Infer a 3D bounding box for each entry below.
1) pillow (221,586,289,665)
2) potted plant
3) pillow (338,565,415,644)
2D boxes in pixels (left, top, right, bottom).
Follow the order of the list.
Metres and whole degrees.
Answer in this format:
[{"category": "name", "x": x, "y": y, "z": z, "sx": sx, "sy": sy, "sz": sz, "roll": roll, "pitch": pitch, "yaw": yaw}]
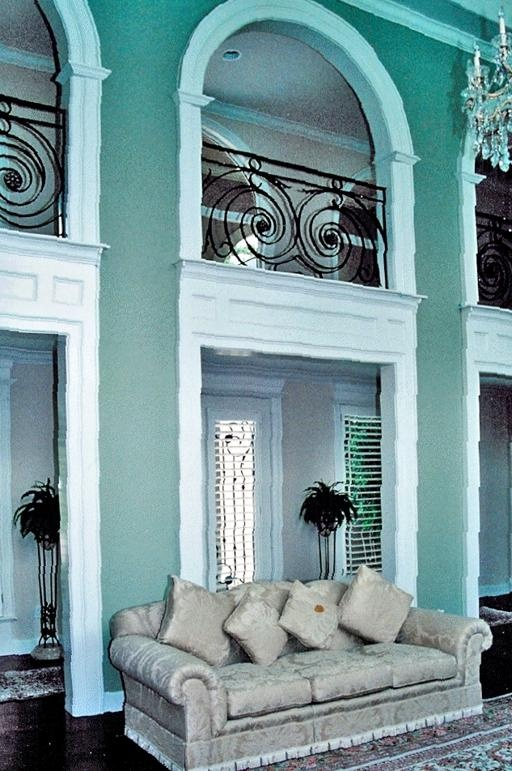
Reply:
[{"category": "pillow", "x": 0.017, "y": 1.421, "z": 4.645, "sx": 0.114, "sy": 0.396, "sz": 0.350, "roll": -22, "pitch": 21, "yaw": 40}, {"category": "potted plant", "x": -1.926, "y": 1.589, "z": 6.834, "sx": 0.430, "sy": 1.533, "sz": 0.843, "roll": 2, "pitch": -9, "yaw": -17}, {"category": "pillow", "x": 0.799, "y": 1.437, "z": 5.120, "sx": 0.453, "sy": 0.444, "sz": 0.157, "roll": 32, "pitch": -20, "yaw": -10}]
